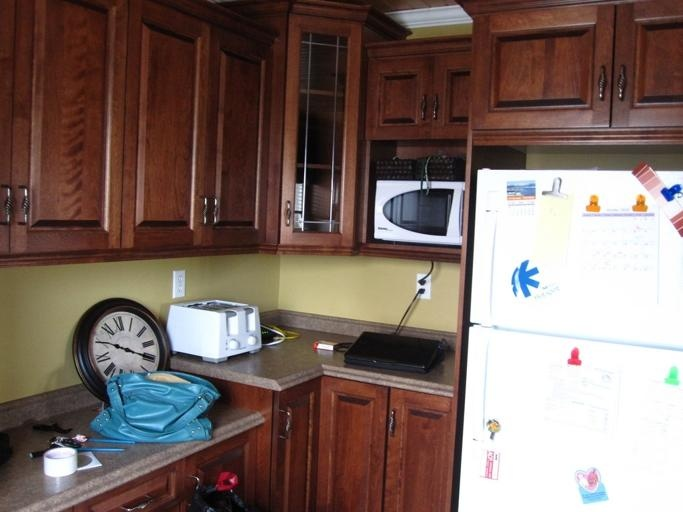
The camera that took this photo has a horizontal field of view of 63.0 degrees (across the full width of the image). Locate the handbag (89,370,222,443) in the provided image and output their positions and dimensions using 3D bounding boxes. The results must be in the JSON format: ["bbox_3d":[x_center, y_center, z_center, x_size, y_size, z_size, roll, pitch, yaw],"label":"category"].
[{"bbox_3d":[-0.737,0.603,2.199,0.397,0.259,0.327,-5,6,-44],"label":"handbag"}]

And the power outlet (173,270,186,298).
[{"bbox_3d":[-0.835,0.143,2.850,0.017,0.145,0.092,2,5,22],"label":"power outlet"}]

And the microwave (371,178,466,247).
[{"bbox_3d":[0.452,-0.225,2.950,0.490,0.338,0.300,4,3,32],"label":"microwave"}]

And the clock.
[{"bbox_3d":[-0.973,0.439,2.512,0.040,0.453,0.441,-13,-19,40],"label":"clock"}]

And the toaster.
[{"bbox_3d":[-0.645,0.368,2.801,0.410,0.240,0.408,3,2,15],"label":"toaster"}]
